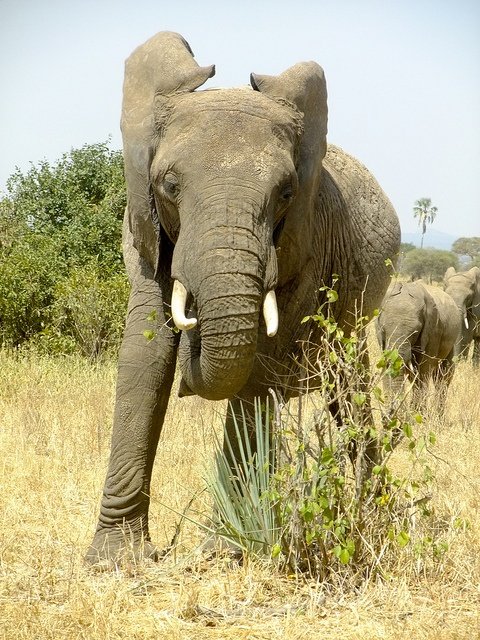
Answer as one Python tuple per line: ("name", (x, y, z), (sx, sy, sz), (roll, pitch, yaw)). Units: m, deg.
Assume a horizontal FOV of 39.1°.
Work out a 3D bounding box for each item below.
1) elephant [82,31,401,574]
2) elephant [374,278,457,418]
("elephant", (-0.123, -0.190, 3.224), (0.850, 1.905, 2.225), (4, 3, 1))
("elephant", (2.289, 0.392, 8.753), (0.797, 1.572, 1.963), (3, 5, 39))
